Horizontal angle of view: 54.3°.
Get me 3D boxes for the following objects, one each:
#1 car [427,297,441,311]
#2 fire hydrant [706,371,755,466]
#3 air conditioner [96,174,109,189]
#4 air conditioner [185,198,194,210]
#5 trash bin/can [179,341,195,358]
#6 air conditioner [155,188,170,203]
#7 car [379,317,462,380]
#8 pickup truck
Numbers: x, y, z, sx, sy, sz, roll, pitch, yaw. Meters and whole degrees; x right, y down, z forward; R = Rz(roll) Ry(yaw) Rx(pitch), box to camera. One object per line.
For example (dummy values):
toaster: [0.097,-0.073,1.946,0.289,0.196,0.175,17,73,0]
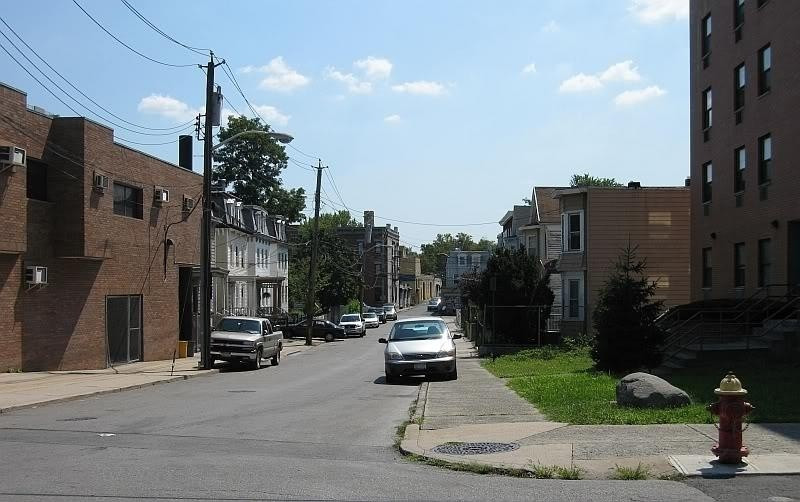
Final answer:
car: [5.464,8.353,122.691,2.016,2.109,4.330,-2,-7,7]
fire hydrant: [6.802,3.447,16.082,0.831,1.843,0.437,-1,-9,3]
air conditioner: [-12.120,-2.818,31.694,0.323,0.536,0.725,0,-10,-3]
air conditioner: [-11.021,-2.484,40.782,0.356,0.571,0.653,-2,-5,15]
trash bin/can: [-11.088,5.112,40.676,0.600,0.543,0.859,0,-7,-2]
air conditioner: [-11.517,-2.747,37.892,0.414,0.850,1.484,0,-10,-8]
car: [0.789,3.598,28.440,2.294,1.840,6.242,0,-2,2]
pickup truck: [-7.188,4.107,36.014,2.754,2.130,5.165,4,-2,4]
